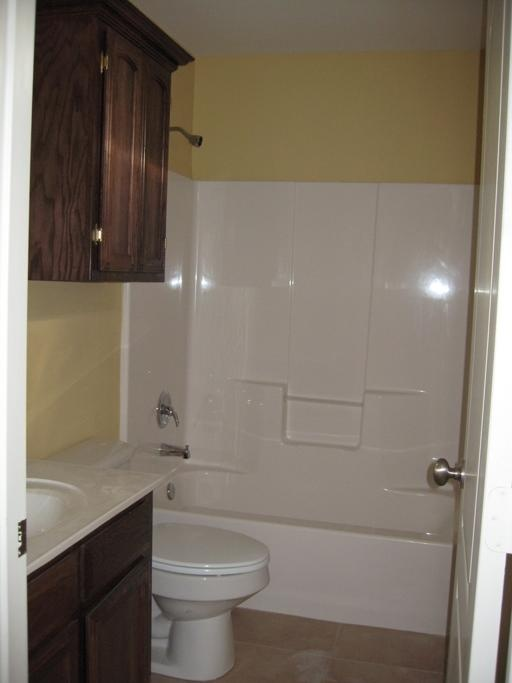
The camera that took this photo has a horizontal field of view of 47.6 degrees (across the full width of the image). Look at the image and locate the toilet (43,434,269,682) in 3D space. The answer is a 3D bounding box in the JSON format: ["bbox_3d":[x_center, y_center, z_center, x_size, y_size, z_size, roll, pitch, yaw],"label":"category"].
[{"bbox_3d":[-0.303,0.760,2.310,0.768,0.983,0.501,1,6,16],"label":"toilet"}]
